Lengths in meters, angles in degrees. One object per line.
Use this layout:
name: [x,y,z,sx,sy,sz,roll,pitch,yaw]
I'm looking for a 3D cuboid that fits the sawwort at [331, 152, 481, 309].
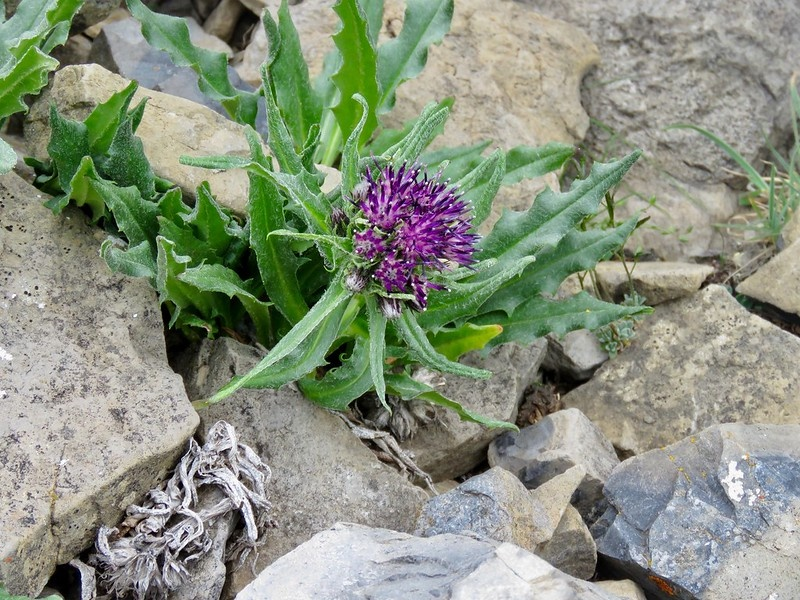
sawwort: [0.023,-0.282,4.113,0.565,0.484,0.515,-14,53,-12]
